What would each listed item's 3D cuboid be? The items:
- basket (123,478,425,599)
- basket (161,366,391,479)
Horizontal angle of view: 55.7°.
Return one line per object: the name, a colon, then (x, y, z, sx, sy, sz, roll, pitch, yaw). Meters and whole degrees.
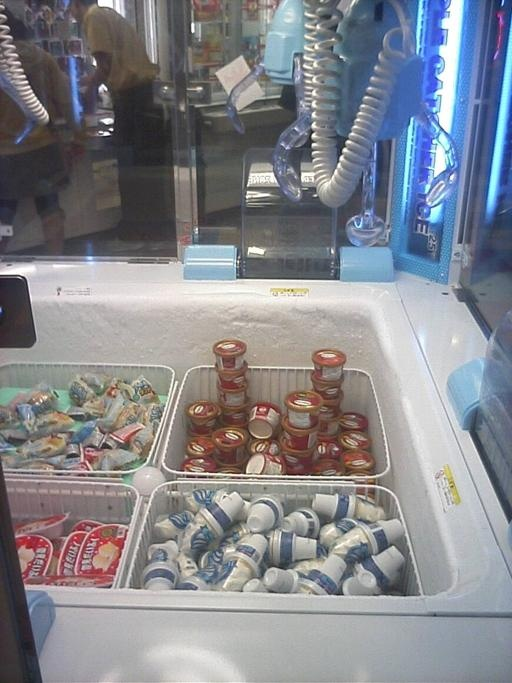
basket: (0.016, 0.322, 0.785, 0.320, 0.105, 0.203, 1, 46, 2)
basket: (0.051, 0.195, 1.208, 0.498, 0.190, 0.397, -2, 27, 1)
